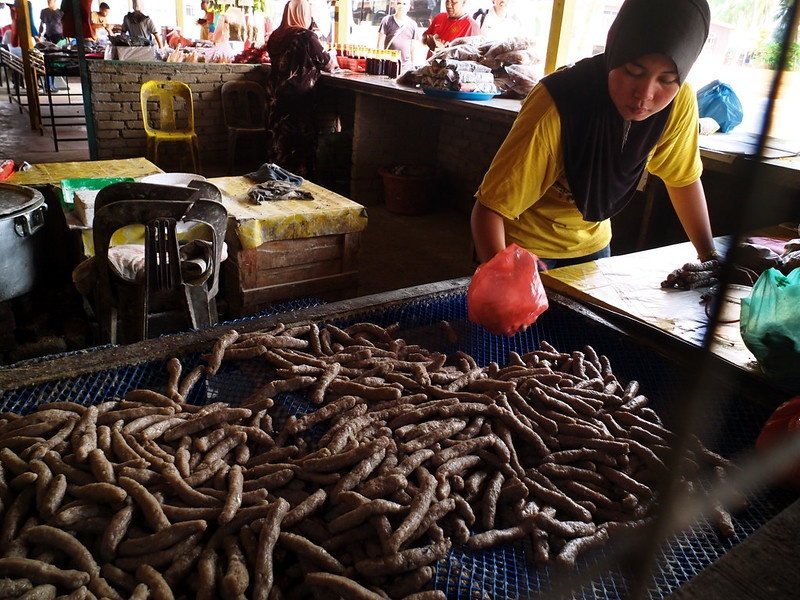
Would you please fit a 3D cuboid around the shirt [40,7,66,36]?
[{"bbox_3d":[-7.175,-5.739,11.174,0.311,0.566,0.797,-10,28,-33],"label":"shirt"}]

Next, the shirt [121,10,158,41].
[{"bbox_3d":[-4.076,-4.341,8.510,0.473,0.351,0.571,-7,27,-28],"label":"shirt"}]

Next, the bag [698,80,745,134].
[{"bbox_3d":[2.472,-1.505,4.169,0.287,0.296,0.433,10,25,11],"label":"bag"}]

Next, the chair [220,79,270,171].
[{"bbox_3d":[-2.034,-2.285,7.108,0.574,1.086,0.862,-2,24,-18],"label":"chair"}]

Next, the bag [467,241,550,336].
[{"bbox_3d":[0.465,-0.071,2.081,0.278,0.272,0.108,18,53,-5],"label":"bag"}]

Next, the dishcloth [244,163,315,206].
[{"bbox_3d":[-0.822,-0.803,3.707,0.424,0.137,0.621,-1,25,-16],"label":"dishcloth"}]

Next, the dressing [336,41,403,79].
[{"bbox_3d":[-0.393,-3.137,7.100,1.062,0.274,1.029,0,31,-3],"label":"dressing"}]

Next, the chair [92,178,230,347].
[{"bbox_3d":[-1.177,-0.179,2.643,0.525,0.896,0.689,-6,46,-25],"label":"chair"}]
